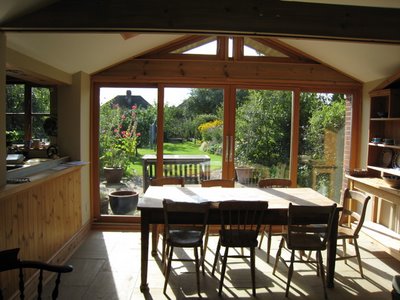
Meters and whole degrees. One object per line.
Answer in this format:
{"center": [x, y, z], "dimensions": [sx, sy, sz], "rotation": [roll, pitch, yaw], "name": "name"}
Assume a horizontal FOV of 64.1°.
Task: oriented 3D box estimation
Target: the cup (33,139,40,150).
{"center": [-2.507, -0.089, 4.891], "dimensions": [0.099, 0.142, 0.145], "rotation": [2, 9, -8], "name": "cup"}

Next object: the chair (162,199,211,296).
{"center": [-0.181, 1.071, 3.881], "dimensions": [0.538, 1.158, 0.719], "rotation": [0, 11, -5], "name": "chair"}

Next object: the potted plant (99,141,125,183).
{"center": [-1.566, 0.275, 5.682], "dimensions": [0.468, 0.661, 0.381], "rotation": [-4, 3, 33], "name": "potted plant"}

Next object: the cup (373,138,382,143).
{"center": [2.804, -0.150, 5.038], "dimensions": [0.124, 0.080, 0.094], "rotation": [0, 2, 33], "name": "cup"}

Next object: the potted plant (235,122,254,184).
{"center": [0.769, 0.137, 5.592], "dimensions": [0.317, 0.945, 0.147], "rotation": [1, 12, 1], "name": "potted plant"}

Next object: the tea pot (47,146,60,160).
{"center": [-2.263, 0.029, 4.901], "dimensions": [0.165, 0.178, 0.239], "rotation": [-4, 12, -25], "name": "tea pot"}

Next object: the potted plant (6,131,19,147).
{"center": [-2.913, -0.188, 4.941], "dimensions": [0.230, 0.252, 0.258], "rotation": [5, -3, -14], "name": "potted plant"}

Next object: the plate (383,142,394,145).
{"center": [2.842, -0.097, 4.817], "dimensions": [0.135, 0.039, 0.155], "rotation": [8, 13, 30], "name": "plate"}

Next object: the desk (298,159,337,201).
{"center": [2.070, 0.472, 5.634], "dimensions": [0.648, 1.138, 0.634], "rotation": [0, 2, 15], "name": "desk"}

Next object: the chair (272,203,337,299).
{"center": [1.282, 1.098, 3.961], "dimensions": [0.688, 1.128, 0.893], "rotation": [4, 12, 15], "name": "chair"}

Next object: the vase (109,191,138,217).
{"center": [-1.351, 0.870, 5.682], "dimensions": [0.525, 0.376, 0.505], "rotation": [-3, 5, -17], "name": "vase"}

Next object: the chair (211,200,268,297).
{"center": [0.472, 1.066, 4.001], "dimensions": [0.643, 1.146, 0.883], "rotation": [1, 11, 2], "name": "chair"}

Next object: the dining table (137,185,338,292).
{"center": [0.415, 1.609, 4.391], "dimensions": [2.410, 1.018, 1.235], "rotation": [0, 7, -6], "name": "dining table"}

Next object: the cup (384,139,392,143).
{"center": [2.849, -0.136, 4.847], "dimensions": [0.078, 0.045, 0.069], "rotation": [-1, 1, 1], "name": "cup"}
